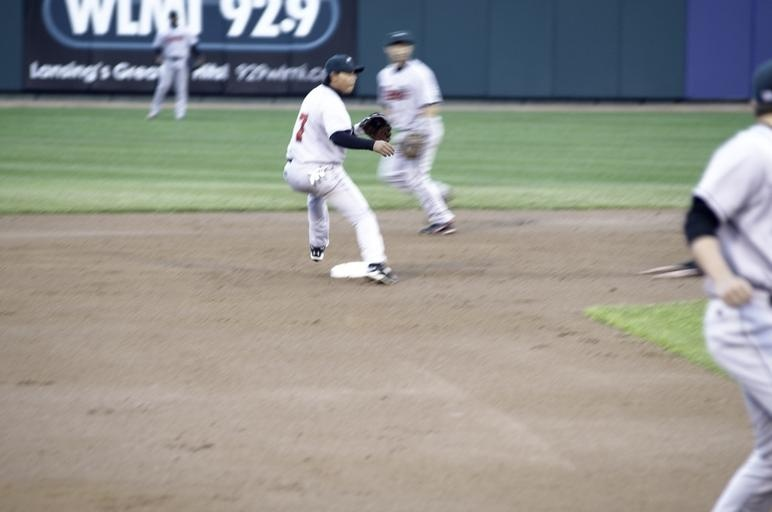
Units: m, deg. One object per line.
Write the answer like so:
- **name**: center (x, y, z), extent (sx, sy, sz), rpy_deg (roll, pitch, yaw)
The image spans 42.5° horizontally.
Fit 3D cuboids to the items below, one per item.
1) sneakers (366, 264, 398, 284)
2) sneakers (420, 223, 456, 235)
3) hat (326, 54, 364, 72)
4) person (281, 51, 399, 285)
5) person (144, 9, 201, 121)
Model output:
- **sneakers**: center (-0.036, 0.155, 8.796), extent (0.274, 0.111, 0.146), rpy_deg (3, 49, -39)
- **sneakers**: center (0.571, -0.283, 10.624), extent (0.405, 0.112, 0.150), rpy_deg (-2, -18, 10)
- **hat**: center (-0.389, -1.679, 8.690), extent (0.400, 0.154, 0.237), rpy_deg (1, 18, -2)
- **person**: center (-0.440, -0.779, 8.865), extent (0.767, 1.979, 1.015), rpy_deg (-8, 17, -31)
- **person**: center (-3.772, -3.347, 17.601), extent (0.883, 1.840, 0.824), rpy_deg (-1, 15, -5)
